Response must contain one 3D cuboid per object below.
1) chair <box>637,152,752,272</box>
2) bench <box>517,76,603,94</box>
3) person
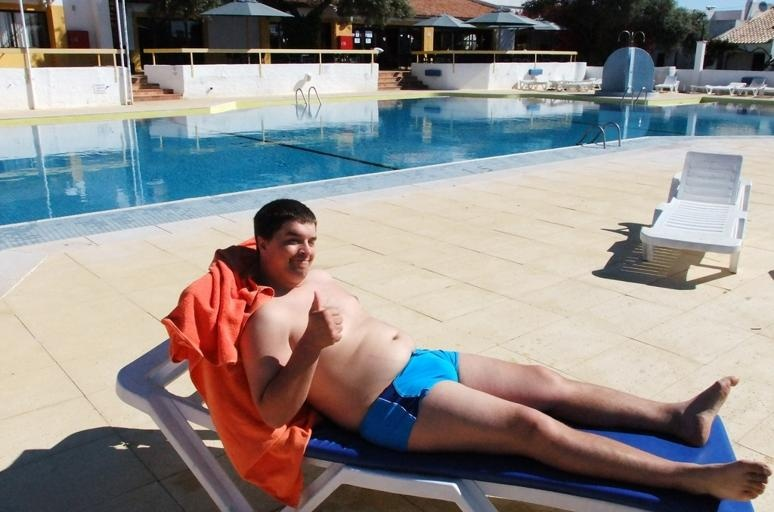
[{"bbox_3d":[3.280,-0.157,5.311,0.785,0.632,2.132,7,6,39],"label":"chair"},{"bbox_3d":[9.292,-9.302,28.168,4.269,0.649,1.899,7,18,12],"label":"bench"},{"bbox_3d":[0.326,0.383,2.396,2.268,0.984,1.258,2,15,12],"label":"person"}]
